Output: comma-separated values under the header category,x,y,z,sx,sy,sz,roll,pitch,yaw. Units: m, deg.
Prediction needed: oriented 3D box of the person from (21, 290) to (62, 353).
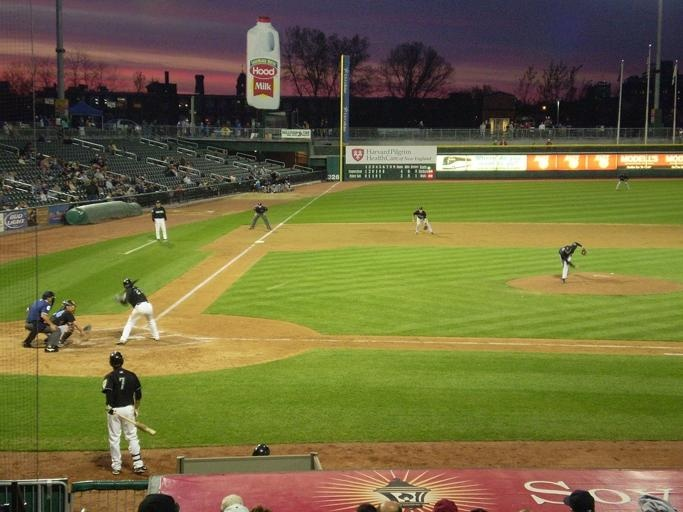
category,x,y,z,sx,sy,sz,roll,pitch,yaw
person,-8.904,1.933,27.942,1.065,1.625,1.149,-5,14,-18

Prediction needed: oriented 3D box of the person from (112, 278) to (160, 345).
category,x,y,z,sx,sy,sz,roll,pitch,yaw
person,-6.672,1.880,30.497,1.267,1.695,1.054,-32,50,-31

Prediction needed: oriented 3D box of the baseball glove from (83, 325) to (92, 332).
category,x,y,z,sx,sy,sz,roll,pitch,yaw
baseball glove,-7.928,2.254,29.440,0.330,0.105,0.251,-18,-29,41

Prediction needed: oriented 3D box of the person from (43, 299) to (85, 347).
category,x,y,z,sx,sy,sz,roll,pitch,yaw
person,-8.443,2.089,28.669,1.246,1.429,0.776,-7,40,-43
